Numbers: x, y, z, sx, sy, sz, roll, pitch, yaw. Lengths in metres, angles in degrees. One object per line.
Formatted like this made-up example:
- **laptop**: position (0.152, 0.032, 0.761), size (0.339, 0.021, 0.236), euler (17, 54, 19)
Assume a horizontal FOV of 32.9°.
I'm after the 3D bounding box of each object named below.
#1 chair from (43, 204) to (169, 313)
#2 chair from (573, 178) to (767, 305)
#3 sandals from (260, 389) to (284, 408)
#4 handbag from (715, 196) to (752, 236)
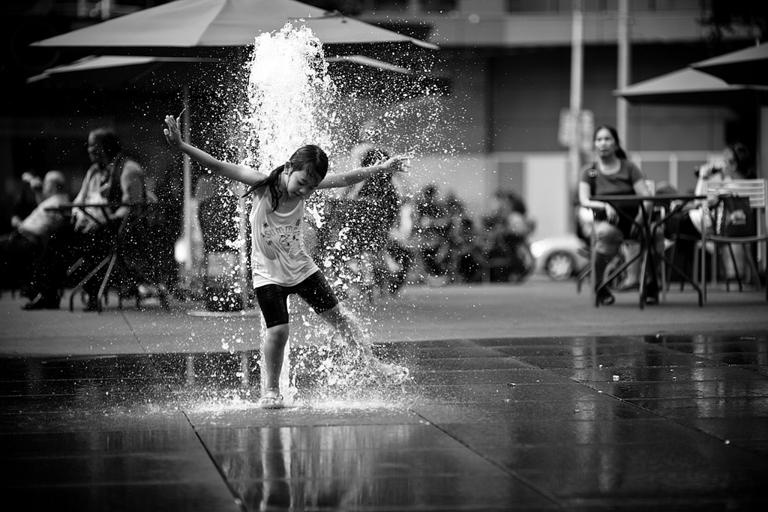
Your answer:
- **chair**: position (-3.304, -0.047, 16.127), size (1.222, 1.386, 1.236), euler (-5, 7, -15)
- **chair**: position (3.508, -0.150, 15.670), size (2.129, 1.561, 1.865), euler (0, 0, 8)
- **sandals**: position (-0.967, 1.222, 11.104), size (0.206, 0.161, 0.134), euler (0, 0, -5)
- **handbag**: position (4.250, -0.434, 15.745), size (0.428, 0.603, 0.327), euler (4, -21, -4)
